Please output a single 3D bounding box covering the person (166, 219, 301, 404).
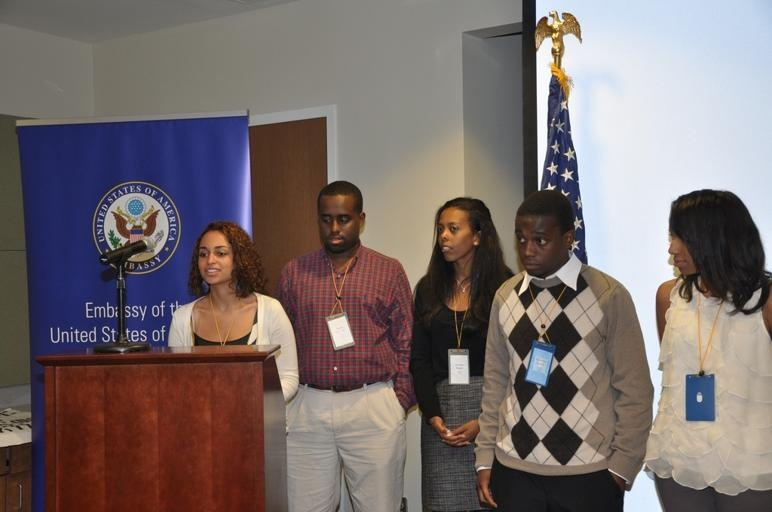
[{"bbox_3d":[-0.888,0.308,4.383,0.777,1.092,0.301,-3,0,19],"label":"person"}]

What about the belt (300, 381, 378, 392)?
[{"bbox_3d":[-0.307,0.837,4.666,0.502,0.068,0.072,-4,-1,10],"label":"belt"}]

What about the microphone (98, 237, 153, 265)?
[{"bbox_3d":[-1.319,-0.020,3.714,0.243,0.137,0.183,-3,-1,-24],"label":"microphone"}]
